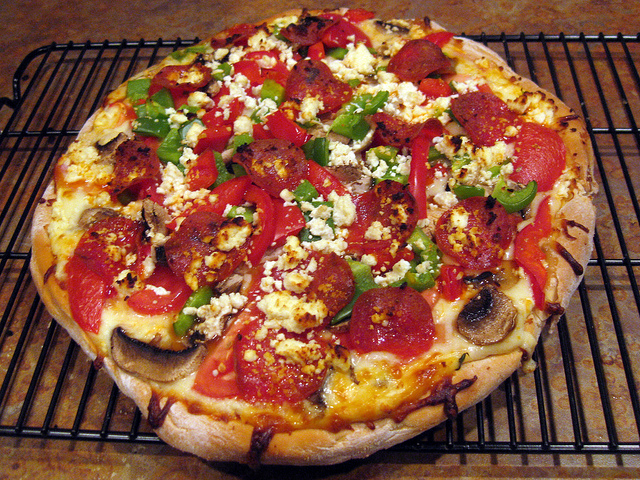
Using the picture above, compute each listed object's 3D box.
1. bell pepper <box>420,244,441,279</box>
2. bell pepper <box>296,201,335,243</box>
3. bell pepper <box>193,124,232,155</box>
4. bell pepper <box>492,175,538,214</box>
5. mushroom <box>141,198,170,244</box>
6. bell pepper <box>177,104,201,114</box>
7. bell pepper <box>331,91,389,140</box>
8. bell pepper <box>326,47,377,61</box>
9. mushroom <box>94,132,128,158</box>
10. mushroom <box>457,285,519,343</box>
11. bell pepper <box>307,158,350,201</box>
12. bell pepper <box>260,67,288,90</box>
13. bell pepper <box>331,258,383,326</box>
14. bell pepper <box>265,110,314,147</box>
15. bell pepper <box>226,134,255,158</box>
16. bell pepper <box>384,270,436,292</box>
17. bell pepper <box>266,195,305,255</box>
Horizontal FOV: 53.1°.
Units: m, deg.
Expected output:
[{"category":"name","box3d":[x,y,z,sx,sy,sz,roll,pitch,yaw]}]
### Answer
[{"category":"bell pepper","box3d":[0.528,0.099,3.086,0.119,0.042,0.137,-6,77,-11]},{"category":"bell pepper","box3d":[-0.019,-0.100,3.179,0.185,0.095,0.223,-4,52,2]},{"category":"bell pepper","box3d":[-0.605,-0.536,3.461,0.204,0.229,0.082,-18,80,-37]},{"category":"bell pepper","box3d":[0.950,-0.212,3.167,0.212,0.067,0.177,15,59,18]},{"category":"mushroom","box3d":[-0.839,-0.102,3.228,0.184,0.051,0.188,3,82,-8]},{"category":"bell pepper","box3d":[-0.736,-0.726,3.599,0.070,0.023,0.064,-11,45,-19]},{"category":"bell pepper","box3d":[0.204,-0.672,3.399,0.389,0.241,0.296,-15,22,-39]},{"category":"bell pepper","box3d":[0.140,-1.106,3.778,0.142,0.040,0.140,-25,34,-24]},{"category":"mushroom","box3d":[-1.151,-0.509,3.525,0.162,0.040,0.142,-9,37,18]},{"category":"mushroom","box3d":[0.791,0.359,3.012,0.226,0.092,0.292,31,61,26]},{"category":"bell pepper","box3d":[0.024,-0.314,3.323,0.315,0.174,0.223,18,31,37]},{"category":"bell pepper","box3d":[-0.260,-0.917,3.599,0.168,0.055,0.157,2,27,-37]},{"category":"bell pepper","box3d":[0.164,0.242,3.097,0.262,0.276,0.233,28,33,28]},{"category":"bell pepper","box3d":[-0.166,-0.588,3.422,0.108,0.237,0.229,-4,29,49]},{"category":"bell pepper","box3d":[-0.428,-0.513,3.397,0.136,0.061,0.125,-8,55,18]},{"category":"bell pepper","box3d":[0.429,0.200,3.076,0.231,0.092,0.085,-5,55,1]},{"category":"bell pepper","box3d":[-0.285,-0.096,3.256,0.136,0.311,0.334,5,46,-28]}]
